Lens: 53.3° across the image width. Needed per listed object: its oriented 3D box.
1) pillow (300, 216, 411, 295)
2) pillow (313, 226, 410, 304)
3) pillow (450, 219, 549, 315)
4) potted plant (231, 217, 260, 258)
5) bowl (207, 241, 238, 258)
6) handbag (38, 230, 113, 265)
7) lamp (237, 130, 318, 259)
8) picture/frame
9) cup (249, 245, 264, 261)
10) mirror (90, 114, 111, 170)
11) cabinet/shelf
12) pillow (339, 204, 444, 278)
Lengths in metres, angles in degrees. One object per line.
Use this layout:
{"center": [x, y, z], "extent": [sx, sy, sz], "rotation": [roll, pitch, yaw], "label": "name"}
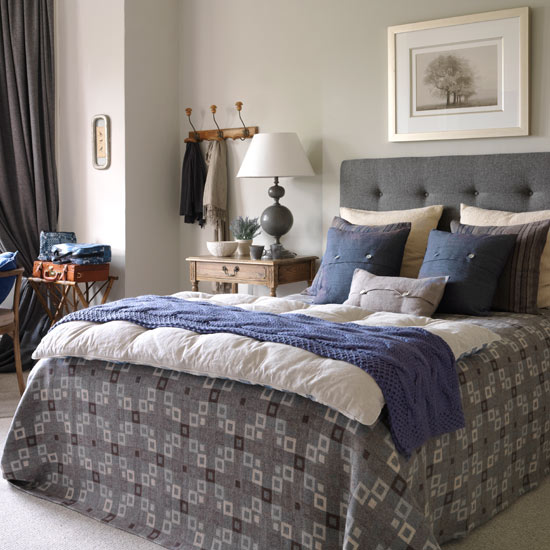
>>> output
{"center": [0.424, -0.096, 2.920], "extent": [0.137, 0.450, 0.438], "rotation": [26, -16, -39], "label": "pillow"}
{"center": [0.456, -0.046, 3.002], "extent": [0.516, 0.442, 0.269], "rotation": [6, 11, 37], "label": "pillow"}
{"center": [1.066, -0.016, 2.585], "extent": [0.403, 0.387, 0.153], "rotation": [6, -9, 45], "label": "pillow"}
{"center": [-0.202, -0.270, 3.849], "extent": [0.180, 0.265, 0.178], "rotation": [3, -1, 5], "label": "potted plant"}
{"center": [-0.371, -0.181, 3.854], "extent": [0.146, 0.072, 0.139], "rotation": [0, -2, 0], "label": "bowl"}
{"center": [-1.462, -0.161, 3.999], "extent": [0.290, 0.186, 0.406], "rotation": [2, 1, 39], "label": "handbag"}
{"center": [0.016, -0.539, 3.806], "extent": [0.513, 0.847, 0.515], "rotation": [-6, 12, -29], "label": "lamp"}
{"center": [1.092, -1.174, 3.195], "extent": [0.895, 0.736, 0.036], "rotation": [-1, 0, 34], "label": "picture/frame"}
{"center": [-0.123, -0.148, 3.654], "extent": [0.090, 0.074, 0.082], "rotation": [1, -2, 0], "label": "cup"}
{"center": [-1.317, -1.005, 4.184], "extent": [0.166, 0.408, 0.041], "rotation": [6, 9, 32], "label": "mirror"}
{"center": [-1.551, 0.171, 4.188], "extent": [0.489, 0.534, 0.520], "rotation": [6, 6, 40], "label": "cabinet/shelf"}
{"center": [0.643, -0.170, 2.968], "extent": [0.161, 0.345, 0.415], "rotation": [-6, 6, -44], "label": "pillow"}
